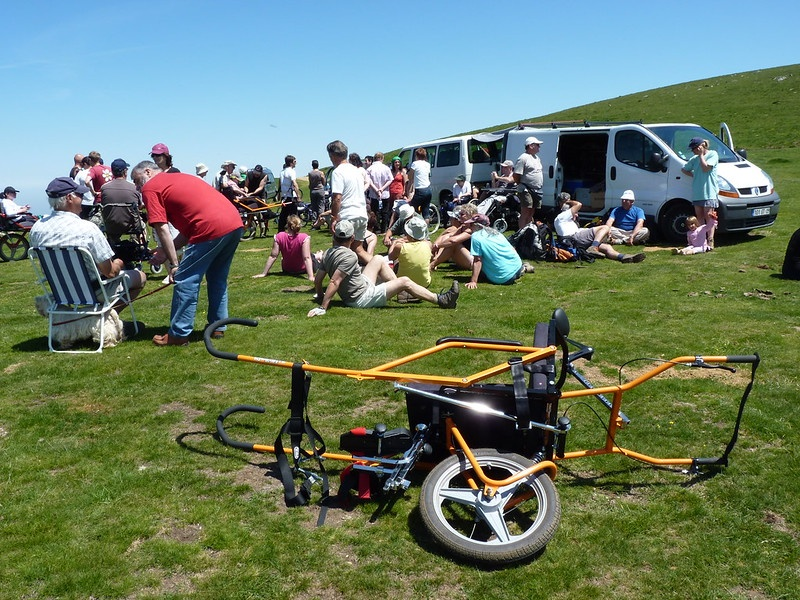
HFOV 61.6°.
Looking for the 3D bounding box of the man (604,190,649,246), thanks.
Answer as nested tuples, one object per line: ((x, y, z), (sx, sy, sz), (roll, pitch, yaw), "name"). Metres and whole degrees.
((4.562, -1.701, 13.638), (0.943, 1.038, 0.836), (0, 14, 10), "man")

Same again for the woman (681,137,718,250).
((5.599, -1.986, 12.514), (0.601, 2.024, 0.638), (8, 17, 36), "woman")

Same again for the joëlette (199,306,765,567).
((0.887, 1.151, 5.506), (4.345, 1.844, 1.970), (-1, 11, 1), "joëlette")

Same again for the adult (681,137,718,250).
((5.603, -1.986, 12.514), (0.589, 2.023, 0.654), (7, 16, 33), "adult")

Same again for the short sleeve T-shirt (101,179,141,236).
((-4.663, -1.454, 11.261), (0.682, 1.044, 0.601), (-2, -15, -11), "short sleeve T-shirt")

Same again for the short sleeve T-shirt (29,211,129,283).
((-3.638, -0.756, 7.665), (1.069, 0.821, 0.542), (2, 14, 3), "short sleeve T-shirt")

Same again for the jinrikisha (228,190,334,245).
((-3.323, -2.309, 18.994), (2.912, 1.663, 1.281), (-1, 1, -9), "jinrikisha")

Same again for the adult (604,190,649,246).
((4.517, -1.768, 14.055), (1.249, 1.341, 1.080), (2, 9, 29), "adult")

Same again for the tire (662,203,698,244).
((5.513, -1.527, 13.159), (0.278, 0.849, 0.844), (-6, 6, -43), "tire")

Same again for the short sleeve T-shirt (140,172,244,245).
((-2.330, -1.034, 7.543), (1.032, 0.782, 0.471), (-5, 13, -13), "short sleeve T-shirt")

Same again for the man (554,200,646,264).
((3.619, -1.394, 12.794), (1.011, 1.156, 2.111), (-7, 14, -21), "man")

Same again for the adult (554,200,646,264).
((3.809, -1.407, 12.870), (1.652, 1.151, 0.836), (13, 9, 32), "adult")
